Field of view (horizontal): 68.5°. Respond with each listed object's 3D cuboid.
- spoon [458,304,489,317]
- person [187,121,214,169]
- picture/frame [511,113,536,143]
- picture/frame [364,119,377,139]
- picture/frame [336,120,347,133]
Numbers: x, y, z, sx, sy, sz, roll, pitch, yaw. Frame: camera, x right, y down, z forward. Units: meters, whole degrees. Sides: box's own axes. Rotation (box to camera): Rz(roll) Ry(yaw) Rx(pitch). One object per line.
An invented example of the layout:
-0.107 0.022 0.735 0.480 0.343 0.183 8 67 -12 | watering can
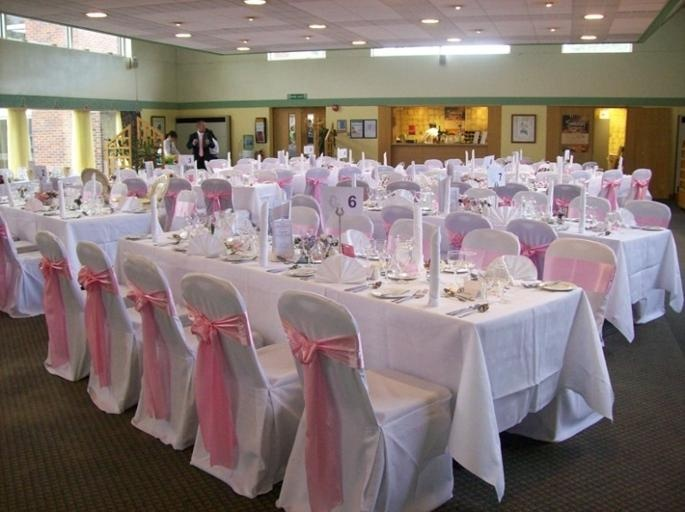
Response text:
0.717 0.294 2.700 0.063 0.053 0.279 6 9 33 | spoon
-3.622 -2.586 12.966 0.563 1.657 0.484 -2 2 -1 | person
5.428 -3.836 15.071 0.708 1.000 0.094 2 11 17 | picture/frame
0.902 -4.081 16.143 0.444 0.709 0.063 10 19 35 | picture/frame
-0.031 -4.198 16.333 0.344 0.490 0.044 2 6 4 | picture/frame
